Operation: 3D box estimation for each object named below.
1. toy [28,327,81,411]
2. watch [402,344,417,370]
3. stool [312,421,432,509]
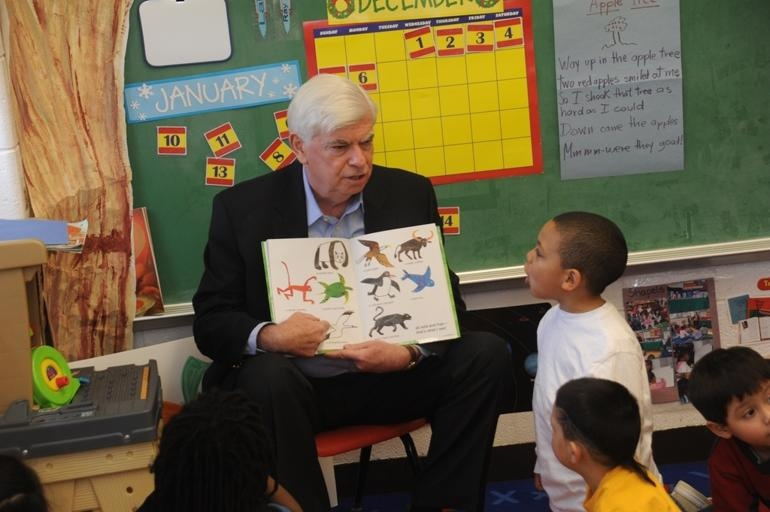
[{"bbox_3d":[-1.141,0.420,2.272,0.112,0.180,0.183,-12,-28,18],"label":"toy"},{"bbox_3d":[0.093,0.363,2.402,0.057,0.075,0.032,3,-12,0],"label":"watch"},{"bbox_3d":[-0.064,0.846,2.650,0.340,0.389,0.285,-12,28,-25],"label":"stool"}]
